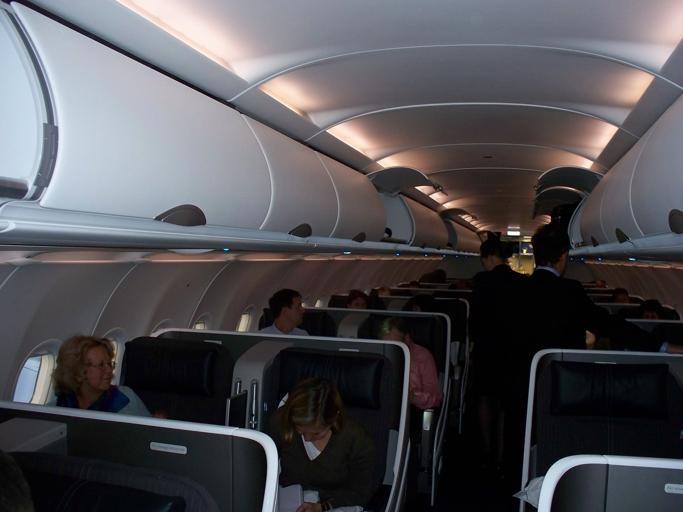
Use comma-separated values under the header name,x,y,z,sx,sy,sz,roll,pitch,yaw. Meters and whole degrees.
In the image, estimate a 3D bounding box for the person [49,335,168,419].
name,x,y,z,sx,sy,sz,roll,pitch,yaw
person,-1.959,0.937,3.426,0.782,0.582,0.274,-1,-14,13

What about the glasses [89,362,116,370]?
name,x,y,z,sx,sy,sz,roll,pitch,yaw
glasses,-1.911,0.867,3.382,0.103,0.033,0.103,-2,-5,11
